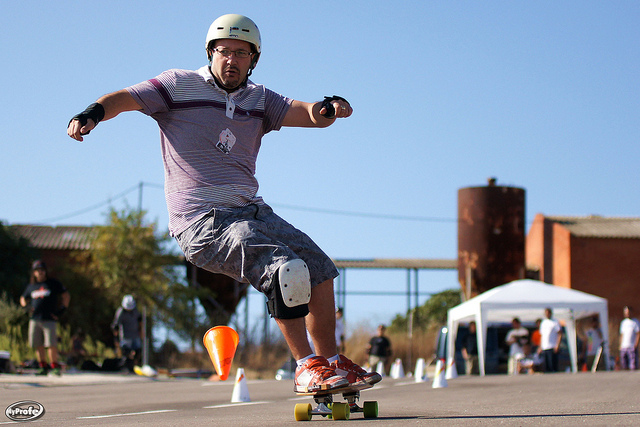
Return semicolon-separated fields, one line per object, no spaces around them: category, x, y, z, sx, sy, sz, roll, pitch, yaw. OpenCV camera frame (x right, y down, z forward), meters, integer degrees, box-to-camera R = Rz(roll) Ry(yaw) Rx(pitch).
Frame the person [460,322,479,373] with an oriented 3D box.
person;3.151;2.856;22.129;0.482;1.393;0.334;-3;24;6

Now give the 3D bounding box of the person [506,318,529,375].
person;4.417;2.980;24.243;0.488;1.214;0.905;-4;-10;10

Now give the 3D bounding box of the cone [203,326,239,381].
cone;-1.201;1.738;13.549;0.491;0.687;0.601;-6;-2;10

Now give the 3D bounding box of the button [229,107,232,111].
button;-1.099;-1.263;13.168;0.033;0.038;0.008;6;0;-16

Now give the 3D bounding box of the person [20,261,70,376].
person;-3.598;1.294;14.242;0.590;1.235;0.686;-2;-9;-1

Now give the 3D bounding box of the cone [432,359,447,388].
cone;1.952;2.629;17.737;0.235;0.456;0.466;-3;-10;7

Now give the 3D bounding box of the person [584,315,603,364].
person;6.453;2.969;25.525;0.446;1.143;1.053;-4;-10;14

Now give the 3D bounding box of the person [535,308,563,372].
person;5.028;2.791;23.826;0.494;1.343;0.703;0;-10;-15

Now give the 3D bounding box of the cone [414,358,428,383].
cone;1.949;3.035;20.832;0.386;0.512;0.422;0;-4;4

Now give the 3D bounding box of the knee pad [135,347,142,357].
knee pad;-3.482;2.653;20.671;0.111;0.176;0.388;-2;-10;-4
